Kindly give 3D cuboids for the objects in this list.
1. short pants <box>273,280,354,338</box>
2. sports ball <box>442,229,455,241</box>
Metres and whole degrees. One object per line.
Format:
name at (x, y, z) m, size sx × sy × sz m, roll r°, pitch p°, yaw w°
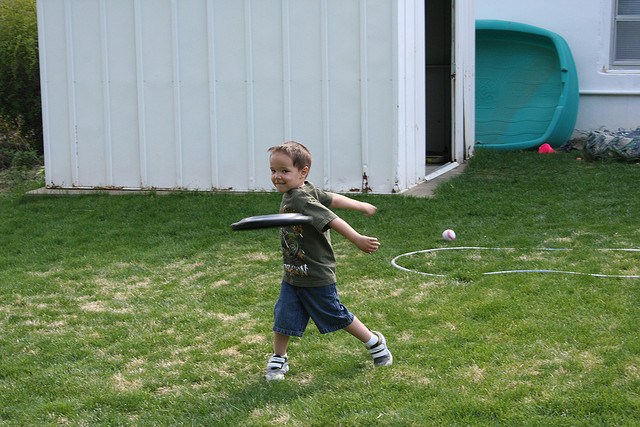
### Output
short pants at (-0.069, 0.838, 6.186) m, size 0.593 × 0.513 × 0.210 m, roll 0°, pitch 4°, yaw 1°
sports ball at (1.522, 0.256, 8.535) m, size 0.122 × 0.118 × 0.120 m, roll -13°, pitch -30°, yaw -8°
